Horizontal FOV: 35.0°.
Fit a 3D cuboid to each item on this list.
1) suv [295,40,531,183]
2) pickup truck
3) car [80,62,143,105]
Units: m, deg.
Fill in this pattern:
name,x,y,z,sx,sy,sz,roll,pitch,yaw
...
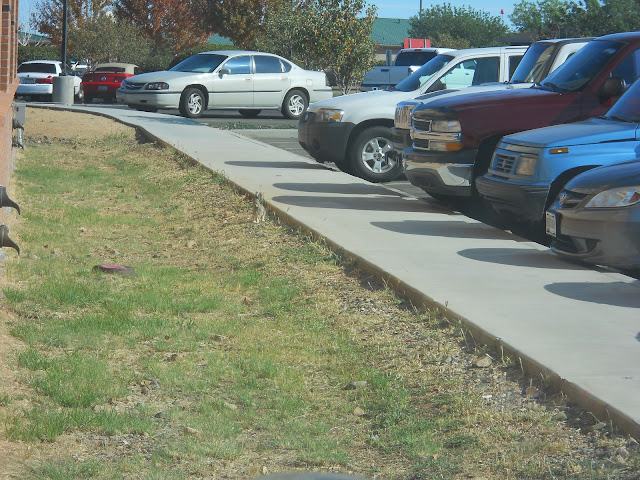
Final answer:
name,x,y,z,sx,sy,sz,roll,pitch,yaw
suv,1.457,-2.103,16.532,3.602,1.640,1.772,-2,7,-8
pickup truck,2.731,-4.369,28.285,3.175,1.467,1.864,-7,12,-9
car,-6.726,-5.170,33.080,1.139,0.955,2.755,0,13,4
